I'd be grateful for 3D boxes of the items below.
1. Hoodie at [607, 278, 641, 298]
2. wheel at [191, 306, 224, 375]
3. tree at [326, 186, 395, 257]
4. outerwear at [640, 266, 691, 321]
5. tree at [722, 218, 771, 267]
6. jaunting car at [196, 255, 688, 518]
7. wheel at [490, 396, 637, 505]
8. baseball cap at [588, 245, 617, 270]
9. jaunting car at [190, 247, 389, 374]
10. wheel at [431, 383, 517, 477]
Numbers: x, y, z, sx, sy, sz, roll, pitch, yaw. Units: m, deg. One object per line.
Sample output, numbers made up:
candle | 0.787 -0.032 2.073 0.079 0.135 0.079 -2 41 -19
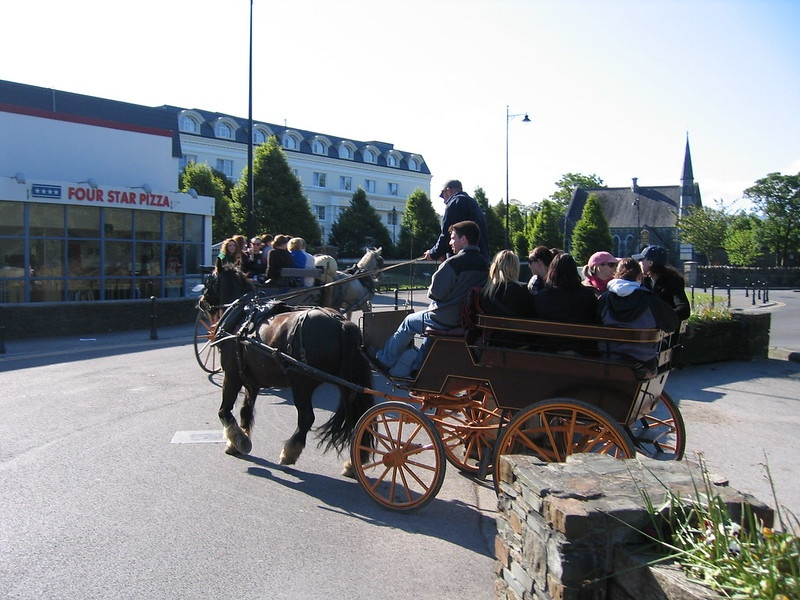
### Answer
Hoodie | 2.098 -0.130 5.923 0.202 0.107 0.190 1 5 -8
wheel | -3.733 0.795 12.740 1.222 1.338 0.310 -11 -13 34
tree | -4.074 -8.569 64.689 4.925 5.935 4.679 -14 32 -44
outerwear | 3.098 -0.094 7.468 0.281 0.723 0.677 -8 11 -7
tree | 39.688 -7.107 72.532 4.077 5.714 26.143 3 7 30
jaunting car | -0.253 0.984 7.896 7.123 3.088 2.257 7 2 30
wheel | 1.540 1.207 6.002 1.019 1.142 0.261 0 4 19
baseball cap | 2.390 -0.514 7.537 0.279 0.170 0.220 -15 7 -8
jaunting car | -2.013 0.042 13.622 4.893 3.021 2.497 -2 1 -40
wheel | 0.729 1.322 6.687 0.250 1.076 1.089 -12 -8 -5
